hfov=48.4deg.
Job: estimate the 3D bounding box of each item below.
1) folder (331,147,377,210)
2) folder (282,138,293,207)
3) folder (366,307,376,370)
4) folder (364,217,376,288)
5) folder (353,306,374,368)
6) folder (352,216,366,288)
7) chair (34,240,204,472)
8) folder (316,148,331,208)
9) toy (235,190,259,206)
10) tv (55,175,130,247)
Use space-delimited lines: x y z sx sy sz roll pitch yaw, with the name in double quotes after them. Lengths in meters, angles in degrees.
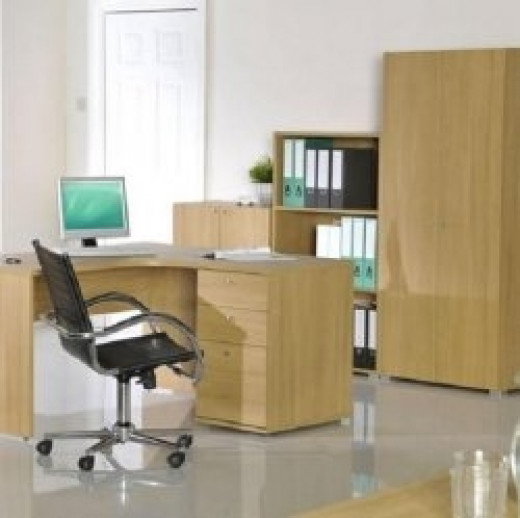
0.656 -0.585 4.202 0.295 0.437 0.117 1 2 -1 "folder"
0.211 -0.659 4.406 0.087 0.496 0.055 8 28 19 "folder"
0.806 0.583 4.197 0.079 0.438 0.021 2 2 34 "folder"
0.787 -0.037 4.160 0.091 0.512 0.063 1 2 13 "folder"
0.818 0.579 4.304 0.238 0.420 0.273 1 0 6 "folder"
0.728 -0.060 4.275 0.096 0.501 0.152 1 0 14 "folder"
-0.656 0.441 2.710 0.651 0.999 0.734 -1 5 -13 "chair"
0.459 -0.590 4.252 0.098 0.420 0.081 1 2 14 "folder"
-0.111 -0.513 4.848 0.169 0.108 0.113 4 5 12 "toy"
-0.977 -0.241 3.358 0.377 0.445 0.194 -3 -14 -24 "tv"
